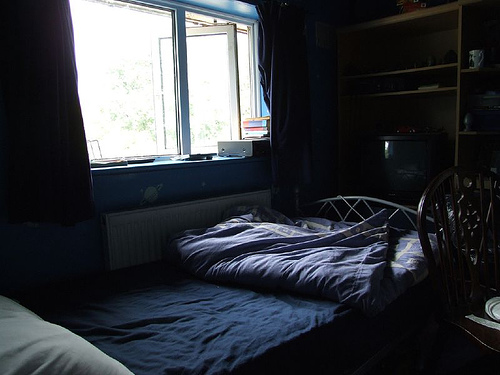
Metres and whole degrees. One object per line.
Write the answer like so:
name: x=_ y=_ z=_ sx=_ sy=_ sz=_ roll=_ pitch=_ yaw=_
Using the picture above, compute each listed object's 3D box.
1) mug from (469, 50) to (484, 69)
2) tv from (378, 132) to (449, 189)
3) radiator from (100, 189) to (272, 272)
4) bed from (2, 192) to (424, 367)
mug: x=1.628 y=-0.918 z=2.566 sx=0.102 sy=0.131 sz=0.112 roll=6 pitch=16 yaw=31
tv: x=1.283 y=-0.156 z=3.160 sx=0.490 sy=0.559 sz=0.377 roll=0 pitch=-1 yaw=3
radiator: x=-0.560 y=0.244 z=2.300 sx=1.072 sy=0.437 sz=0.484 roll=-3 pitch=11 yaw=-39
bed: x=-0.038 y=0.434 z=1.766 sx=1.352 sy=0.376 sz=0.966 roll=-11 pitch=16 yaw=-41
